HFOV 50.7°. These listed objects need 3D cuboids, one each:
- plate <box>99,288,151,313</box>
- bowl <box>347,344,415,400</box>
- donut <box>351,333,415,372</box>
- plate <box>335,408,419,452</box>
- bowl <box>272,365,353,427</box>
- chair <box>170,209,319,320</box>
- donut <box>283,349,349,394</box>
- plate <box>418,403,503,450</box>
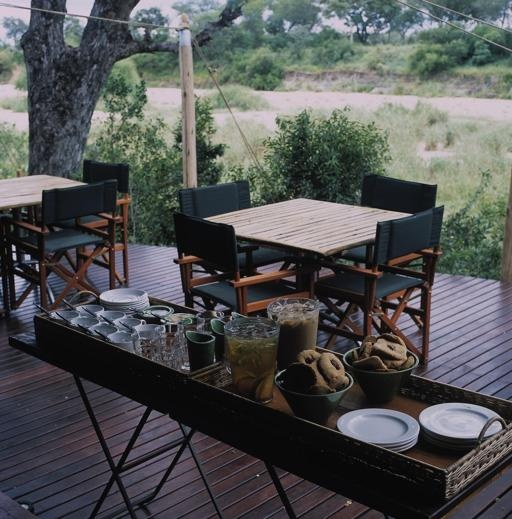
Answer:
[{"bbox_3d":[-0.445,0.142,1.836,0.124,0.032,0.110,2,9,7],"label":"plate"},{"bbox_3d":[0.266,0.242,1.162,0.126,0.053,0.119,0,8,0],"label":"bowl"},{"bbox_3d":[0.283,0.200,1.162,0.104,0.035,0.091,-1,9,7],"label":"donut"},{"bbox_3d":[0.237,0.325,1.037,0.145,0.035,0.148,-2,8,-40],"label":"plate"},{"bbox_3d":[0.107,0.264,1.094,0.138,0.058,0.109,0,11,-2],"label":"bowl"},{"bbox_3d":[-0.038,0.157,3.291,0.664,0.754,0.658,-9,19,-34],"label":"chair"},{"bbox_3d":[0.123,0.219,1.074,0.090,0.030,0.083,12,27,23],"label":"donut"},{"bbox_3d":[0.380,0.320,1.044,0.125,0.052,0.153,8,8,35],"label":"plate"}]
